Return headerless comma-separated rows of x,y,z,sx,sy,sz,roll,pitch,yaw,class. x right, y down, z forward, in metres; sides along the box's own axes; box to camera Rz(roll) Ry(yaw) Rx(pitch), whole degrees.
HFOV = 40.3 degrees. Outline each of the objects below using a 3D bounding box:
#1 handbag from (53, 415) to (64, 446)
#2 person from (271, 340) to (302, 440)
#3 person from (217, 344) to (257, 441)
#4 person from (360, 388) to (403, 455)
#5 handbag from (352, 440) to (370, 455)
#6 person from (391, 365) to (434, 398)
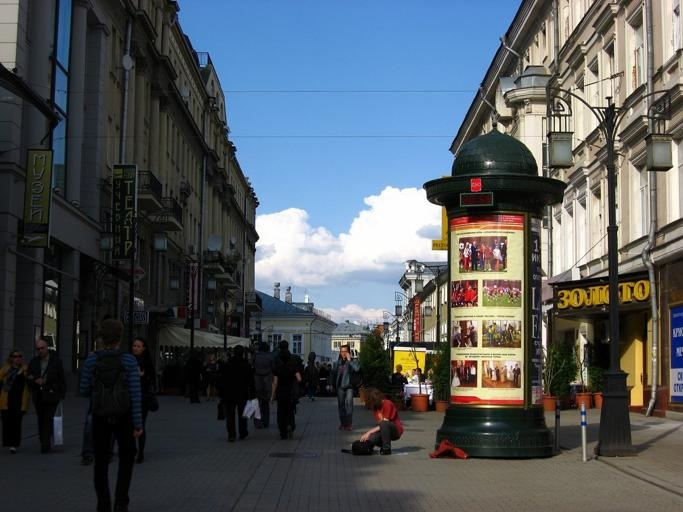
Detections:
-5.199,3.190,17.072,0.134,0.496,0.386,2,-13,-12,handbag
-1.315,3.108,21.837,0.620,2.415,1.154,0,-13,-4,person
-2.475,3.173,21.353,0.677,2.212,1.349,-3,-13,7,person
0.800,3.438,19.336,0.728,1.374,1.154,-4,-13,14,person
0.368,3.878,18.769,0.377,0.310,0.257,-1,-13,0,handbag
2.557,4.975,35.833,1.234,0.807,1.319,1,1,-3,person
